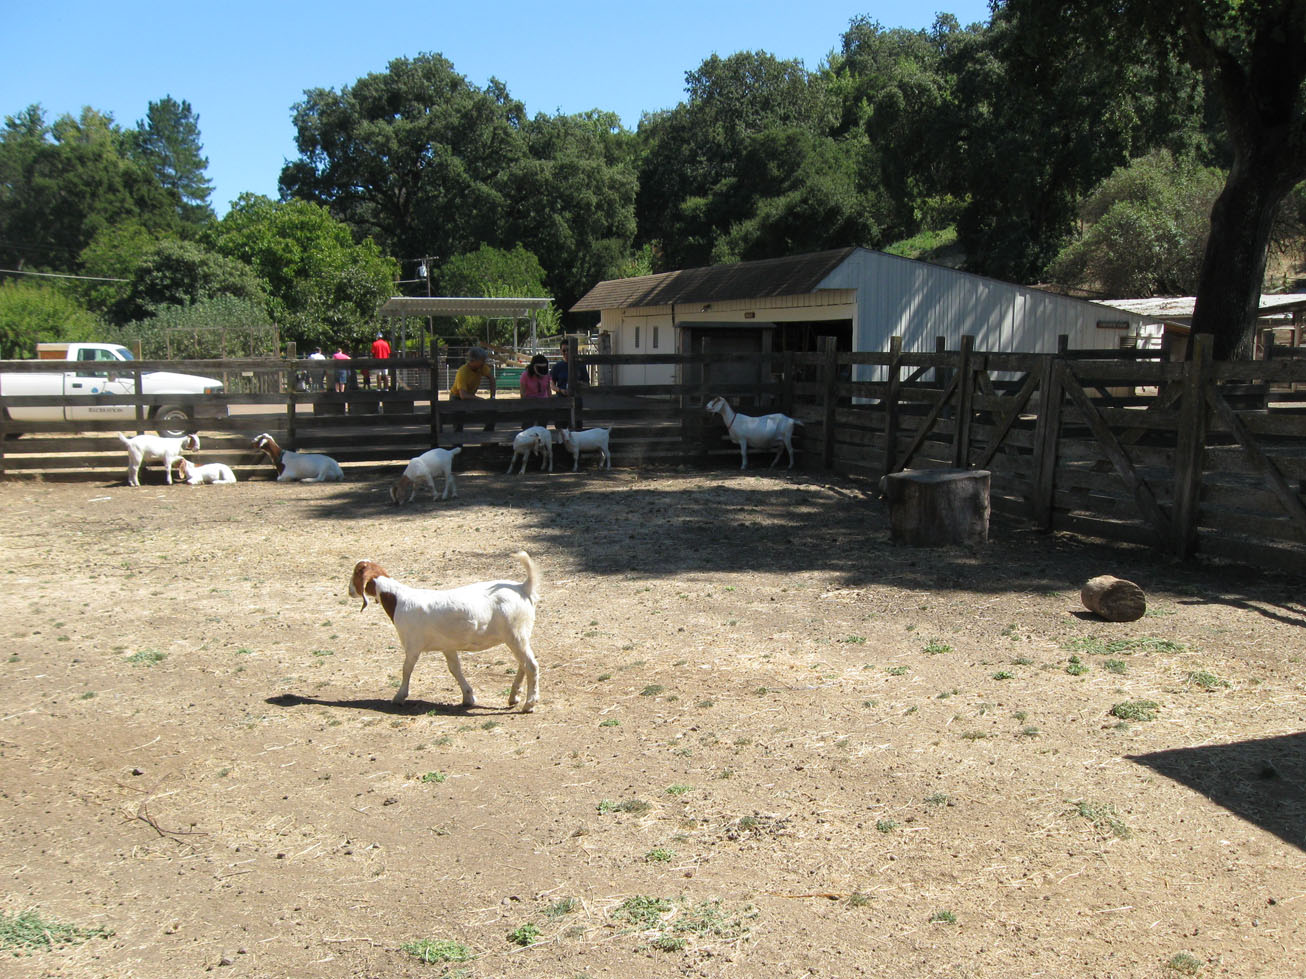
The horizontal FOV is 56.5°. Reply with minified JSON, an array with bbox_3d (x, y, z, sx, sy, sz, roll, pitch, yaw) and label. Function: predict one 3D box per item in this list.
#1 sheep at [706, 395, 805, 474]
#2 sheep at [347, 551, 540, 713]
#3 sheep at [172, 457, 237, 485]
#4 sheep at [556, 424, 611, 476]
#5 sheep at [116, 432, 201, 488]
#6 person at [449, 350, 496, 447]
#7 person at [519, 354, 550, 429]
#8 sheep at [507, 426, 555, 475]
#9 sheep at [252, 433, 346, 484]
[{"bbox_3d":[1.727,-0.963,20.926,1.877,1.080,0.515,1,-1,-21],"label":"sheep"},{"bbox_3d":[-1.586,1.030,9.049,1.610,1.105,0.503,2,-1,11],"label":"sheep"},{"bbox_3d":[-7.327,-0.296,19.862,1.104,0.531,0.340,5,6,-12],"label":"sheep"},{"bbox_3d":[-1.215,-0.746,21.230,0.978,0.740,1.089,-2,14,-3],"label":"sheep"},{"bbox_3d":[-7.918,-0.547,19.570,1.125,0.879,0.851,-8,16,-27],"label":"sheep"},{"bbox_3d":[-3.233,-1.682,21.777,0.941,1.771,0.823,2,20,2],"label":"person"},{"bbox_3d":[-2.155,-1.877,22.261,0.582,1.227,1.785,-2,14,-5],"label":"person"},{"bbox_3d":[-2.108,-0.724,20.944,0.790,0.822,1.176,-2,14,-6],"label":"sheep"},{"bbox_3d":[-5.868,-0.534,20.090,1.521,0.757,0.715,4,15,19],"label":"sheep"}]
